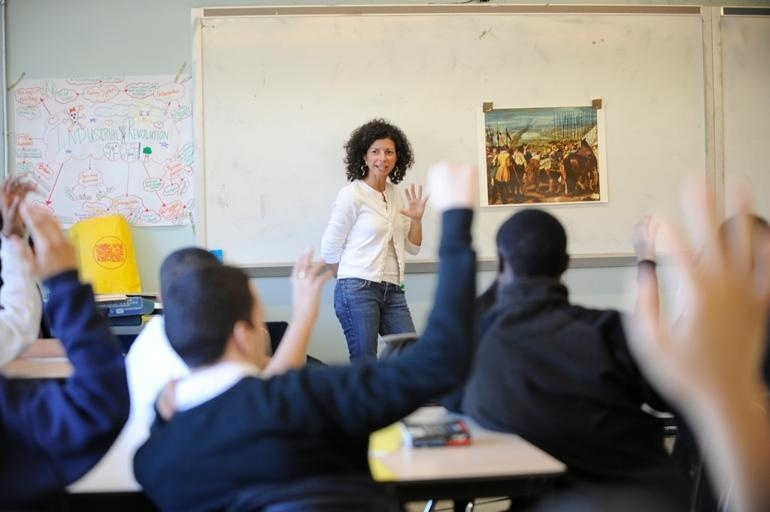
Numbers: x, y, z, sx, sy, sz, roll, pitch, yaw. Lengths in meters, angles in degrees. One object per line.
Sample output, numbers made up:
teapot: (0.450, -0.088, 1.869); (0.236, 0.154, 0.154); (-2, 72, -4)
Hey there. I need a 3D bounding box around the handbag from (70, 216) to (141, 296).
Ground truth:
handbag: (-1.916, -0.015, 4.258); (0.422, 0.527, 0.308); (-20, -4, -11)
